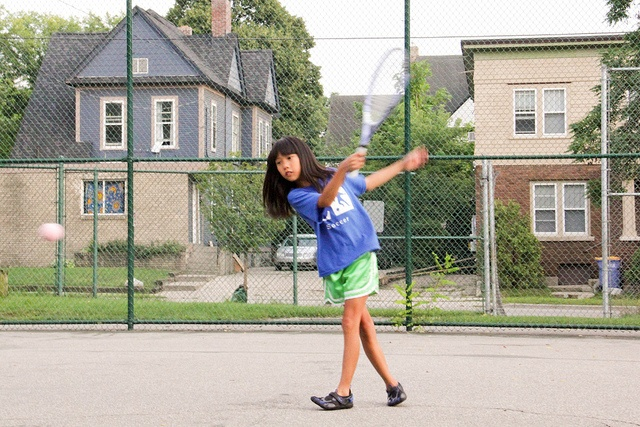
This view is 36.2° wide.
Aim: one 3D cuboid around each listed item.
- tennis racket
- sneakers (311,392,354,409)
[{"bbox_3d":[0.978,-1.877,15.450,0.648,2.623,0.102,35,-30,-23],"label":"tennis racket"},{"bbox_3d":[0.194,2.964,15.350,0.623,0.269,0.262,4,-7,-8],"label":"sneakers"}]
